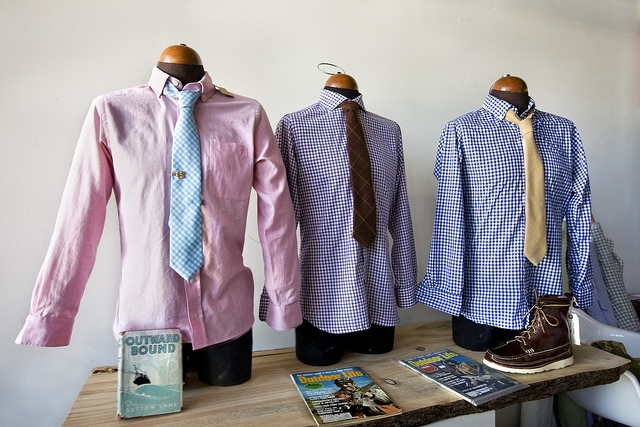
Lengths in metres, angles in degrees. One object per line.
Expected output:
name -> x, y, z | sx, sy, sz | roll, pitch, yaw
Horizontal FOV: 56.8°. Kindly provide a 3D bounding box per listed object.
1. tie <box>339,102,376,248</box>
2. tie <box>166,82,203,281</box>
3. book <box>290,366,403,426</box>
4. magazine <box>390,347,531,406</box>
tie -> 0.173, -0.180, 2.668 | 0.123, 0.663, 0.063 | -4, -3, 1
tie -> -0.542, -0.134, 2.385 | 0.158, 0.800, 0.050 | -4, -3, -13
book -> 0.104, 0.763, 2.483 | 0.369, 0.155, 0.301 | -3, -3, -17
magazine -> 0.617, 0.712, 2.617 | 0.338, 0.024, 0.453 | -5, 14, -30
